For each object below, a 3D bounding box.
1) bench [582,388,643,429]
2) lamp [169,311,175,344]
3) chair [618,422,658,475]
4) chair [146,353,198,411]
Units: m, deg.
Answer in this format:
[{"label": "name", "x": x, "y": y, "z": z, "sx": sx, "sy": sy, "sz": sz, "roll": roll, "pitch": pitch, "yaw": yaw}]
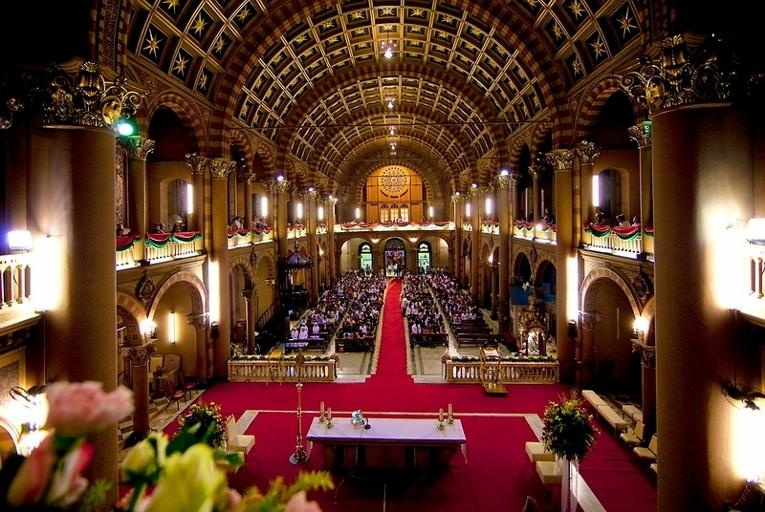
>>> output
[{"label": "bench", "x": 7.292, "y": 4.866, "z": 16.196, "sx": 0.821, "sy": 0.279, "sz": 1.271, "roll": 1, "pitch": 11, "yaw": 1}, {"label": "lamp", "x": -8.059, "y": 2.783, "z": 19.722, "sx": 0.306, "sy": 1.167, "sz": 0.283, "roll": -3, "pitch": 10, "yaw": -16}, {"label": "chair", "x": 7.225, "y": 5.493, "z": 14.528, "sx": 0.664, "sy": 0.834, "sz": 2.027, "roll": -7, "pitch": -14, "yaw": 11}, {"label": "chair", "x": -7.852, "y": 4.489, "z": 18.638, "sx": 1.419, "sy": 2.101, "sz": 1.660, "roll": 0, "pitch": -4, "yaw": -5}]
